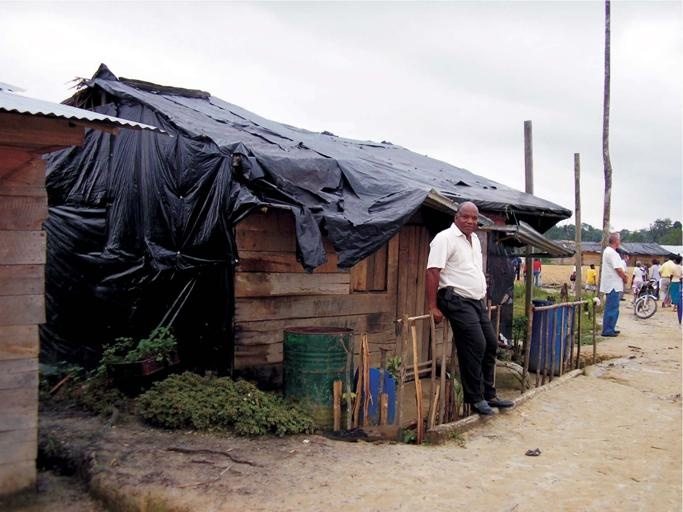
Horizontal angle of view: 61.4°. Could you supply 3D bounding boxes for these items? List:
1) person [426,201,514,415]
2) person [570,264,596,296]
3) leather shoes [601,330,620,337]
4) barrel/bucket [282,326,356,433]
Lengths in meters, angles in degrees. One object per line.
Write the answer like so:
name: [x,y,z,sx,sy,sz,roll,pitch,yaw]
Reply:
person: [1.631,0.734,7.450,1.115,2.813,0.561,0,7,-10]
person: [10.754,1.131,25.449,1.302,1.626,0.406,6,12,32]
leather shoes: [6.479,1.843,13.859,0.449,0.207,0.149,-6,6,-4]
barrel/bucket: [-0.334,1.605,8.008,1.098,1.291,1.150,1,-1,0]
